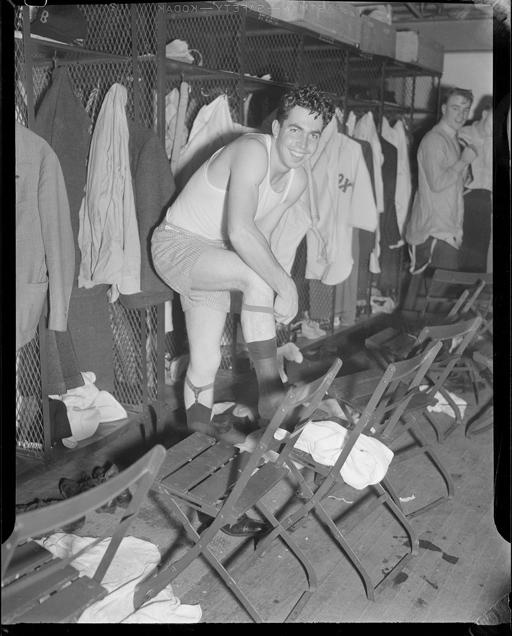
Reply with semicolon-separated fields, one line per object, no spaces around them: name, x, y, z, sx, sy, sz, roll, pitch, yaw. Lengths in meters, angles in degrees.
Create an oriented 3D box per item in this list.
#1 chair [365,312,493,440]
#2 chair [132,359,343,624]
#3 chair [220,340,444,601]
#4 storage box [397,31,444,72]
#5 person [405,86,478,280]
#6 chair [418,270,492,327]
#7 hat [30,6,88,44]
chair;1.008;0.295;3.426;0.536;0.769;0.380;18;-15;-20
chair;-0.089;0.521;1.775;0.517;0.867;0.546;-2;17;-40
chair;0.320;0.715;1.929;0.409;0.683;0.475;-22;46;-29
storage box;1.117;-1.775;3.763;0.366;0.230;0.095;-1;11;-16
person;1.206;-0.839;3.630;0.410;1.174;0.198;7;11;26
chair;1.280;-0.201;3.644;0.219;0.475;0.361;3;53;2
hat;-0.841;-1.259;2.392;0.087;0.174;0.279;7;13;26
